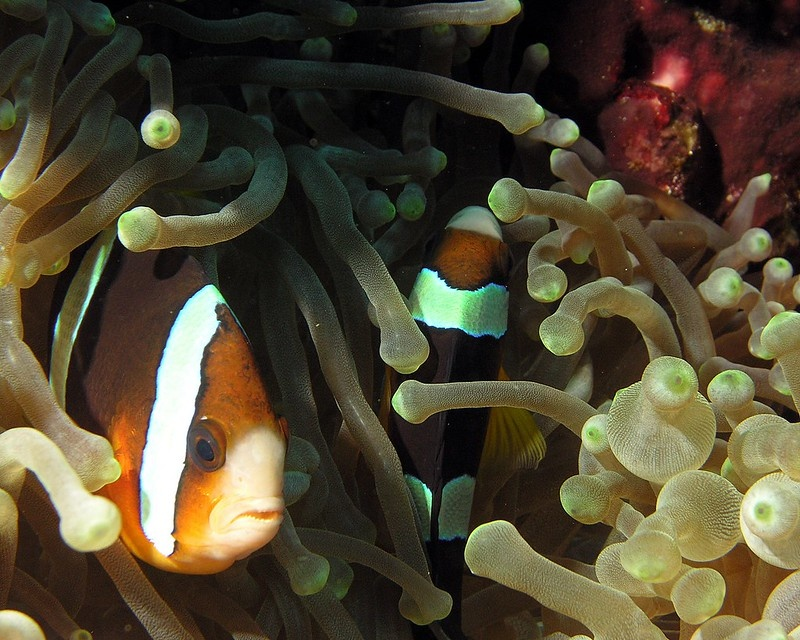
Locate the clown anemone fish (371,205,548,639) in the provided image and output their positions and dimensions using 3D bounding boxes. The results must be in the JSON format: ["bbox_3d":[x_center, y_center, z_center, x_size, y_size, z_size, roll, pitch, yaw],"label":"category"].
[{"bbox_3d":[0.083,0.123,1.314,0.179,0.605,0.234,3,-14,-4],"label":"clown anemone fish"}]
